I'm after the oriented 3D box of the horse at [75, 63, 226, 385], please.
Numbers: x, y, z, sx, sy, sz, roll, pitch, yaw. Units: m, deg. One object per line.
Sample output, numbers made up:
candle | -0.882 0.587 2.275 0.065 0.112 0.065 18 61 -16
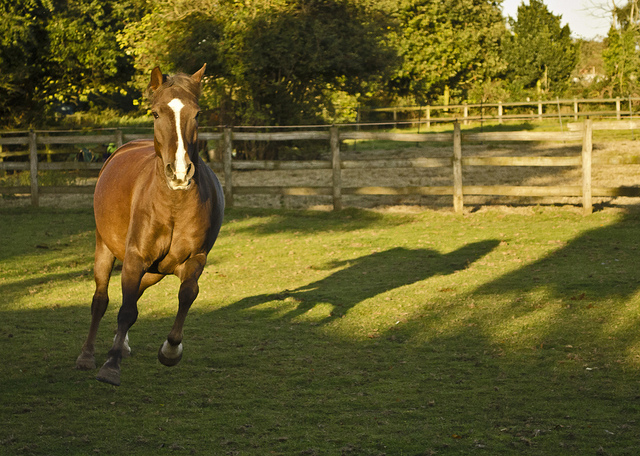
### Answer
horse | -3.887 -0.043 25.966 2.592 7.073 2.066 1 8 20
